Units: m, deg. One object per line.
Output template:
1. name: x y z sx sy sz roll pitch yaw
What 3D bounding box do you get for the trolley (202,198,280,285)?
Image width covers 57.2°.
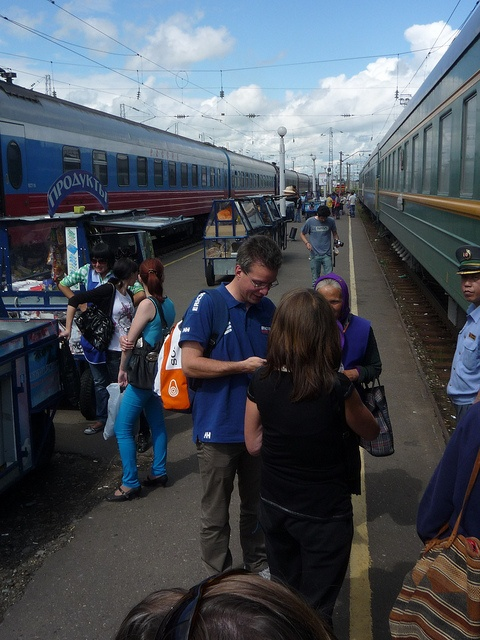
1. trolley: 0.576 -3.273 14.974 1.507 2.877 5.397 11 21 11

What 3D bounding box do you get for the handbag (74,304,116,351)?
1. handbag: -1.446 0.064 4.478 0.342 0.385 0.205 -34 12 -4

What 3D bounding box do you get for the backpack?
1. backpack: -0.402 0.222 3.034 0.368 0.727 0.435 0 3 -16

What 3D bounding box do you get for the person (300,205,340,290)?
1. person: 1.749 -1.671 9.741 0.697 1.750 0.851 4 11 24

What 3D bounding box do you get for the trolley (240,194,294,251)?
1. trolley: 0.853 -3.656 15.768 1.609 1.630 1.082 21 14 22

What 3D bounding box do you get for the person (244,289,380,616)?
1. person: 0.231 0.521 1.806 0.504 1.289 0.436 8 13 40

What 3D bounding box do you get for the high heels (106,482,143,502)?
1. high heels: -0.986 1.482 3.789 0.222 0.104 0.120 6 1 -10

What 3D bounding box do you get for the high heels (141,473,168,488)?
1. high heels: -0.756 1.457 4.007 0.246 0.108 0.097 6 4 0

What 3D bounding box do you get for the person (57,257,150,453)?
1. person: -1.352 0.315 4.658 0.857 2.015 0.531 2 14 -18
